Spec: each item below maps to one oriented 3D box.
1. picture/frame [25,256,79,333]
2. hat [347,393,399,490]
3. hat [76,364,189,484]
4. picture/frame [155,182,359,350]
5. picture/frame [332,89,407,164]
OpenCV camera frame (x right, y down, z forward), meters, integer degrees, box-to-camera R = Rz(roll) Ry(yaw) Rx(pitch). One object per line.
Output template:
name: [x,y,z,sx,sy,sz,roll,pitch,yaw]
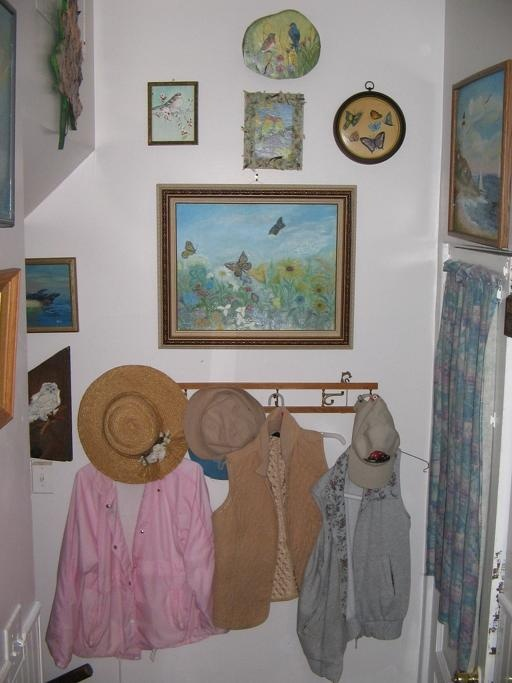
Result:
picture/frame: [-0.862,-0.195,2.399,0.212,0.323,0.040,1,5,-1]
hat: [0.522,0.449,2.494,0.229,0.418,0.099,2,5,7]
hat: [-0.541,0.354,2.480,0.427,0.521,0.290,0,6,-9]
picture/frame: [0.002,-0.308,2.406,0.828,0.691,0.053,2,5,-1]
picture/frame: [0.457,-0.874,2.309,0.286,0.283,0.048,2,5,0]
